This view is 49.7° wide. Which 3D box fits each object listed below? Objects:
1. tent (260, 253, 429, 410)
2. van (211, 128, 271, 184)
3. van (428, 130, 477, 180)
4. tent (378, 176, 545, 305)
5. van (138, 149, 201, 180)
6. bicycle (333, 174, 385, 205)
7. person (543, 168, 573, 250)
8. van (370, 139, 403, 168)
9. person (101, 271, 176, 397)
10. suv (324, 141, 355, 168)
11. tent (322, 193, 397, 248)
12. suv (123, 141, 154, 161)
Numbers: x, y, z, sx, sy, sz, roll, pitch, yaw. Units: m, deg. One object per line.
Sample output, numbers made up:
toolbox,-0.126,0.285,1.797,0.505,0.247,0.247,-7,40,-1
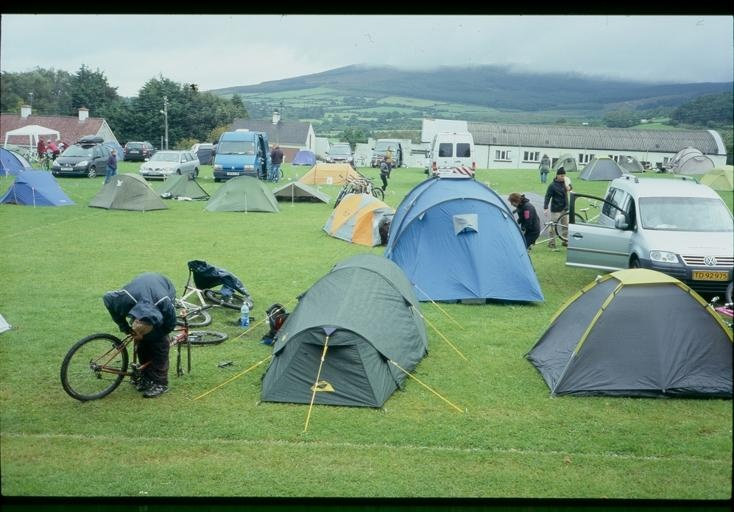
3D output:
tent,-0.273,1.068,14.431,2.883,1.524,4.265,5,17,9
van,-5.618,-4.626,35.776,2.639,2.735,2.887,-1,18,-3
van,3.980,-4.734,37.212,2.314,2.105,3.838,0,7,4
tent,2.061,-0.576,18.020,3.866,2.476,4.318,6,19,3
van,-9.115,-4.577,36.932,2.178,1.919,5.043,0,1,2
bicycle,-0.425,-2.186,27.166,1.182,1.267,2.798,-1,10,7
person,5.151,-1.438,21.324,0.995,2.559,1.042,1,23,1
van,1.338,-7.383,56.181,1.808,1.549,3.017,0,6,7
person,-3.541,1.293,12.710,1.021,2.005,0.607,-5,14,-14
suv,-1.799,-6.857,52.995,1.735,1.509,3.069,0,5,1
tent,-0.203,-1.019,22.456,2.296,1.479,2.125,0,22,-4
suv,-14.447,-6.621,50.172,1.708,1.326,3.002,0,18,-3
